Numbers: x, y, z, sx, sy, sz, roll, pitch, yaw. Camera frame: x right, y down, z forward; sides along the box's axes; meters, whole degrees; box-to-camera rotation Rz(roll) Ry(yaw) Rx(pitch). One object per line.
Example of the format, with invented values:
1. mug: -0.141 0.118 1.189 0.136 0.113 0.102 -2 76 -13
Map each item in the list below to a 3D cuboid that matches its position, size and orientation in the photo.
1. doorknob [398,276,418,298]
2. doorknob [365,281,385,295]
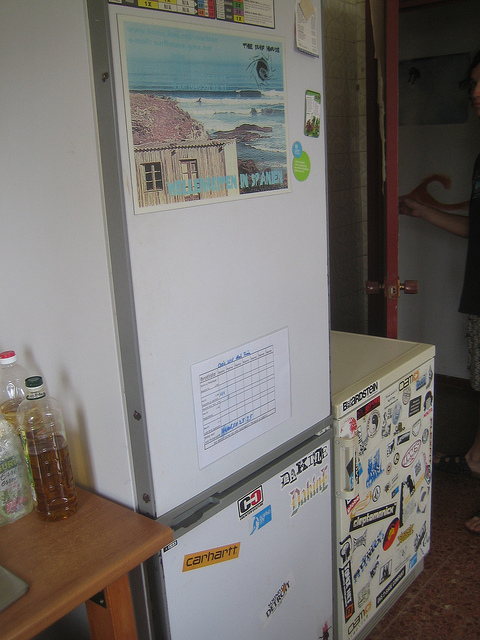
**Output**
1. doorknob: 0.674 -0.131 1.968 0.105 0.068 0.031 0 -4 8
2. doorknob: 0.547 -0.135 2.018 0.062 0.043 0.020 1 0 4
